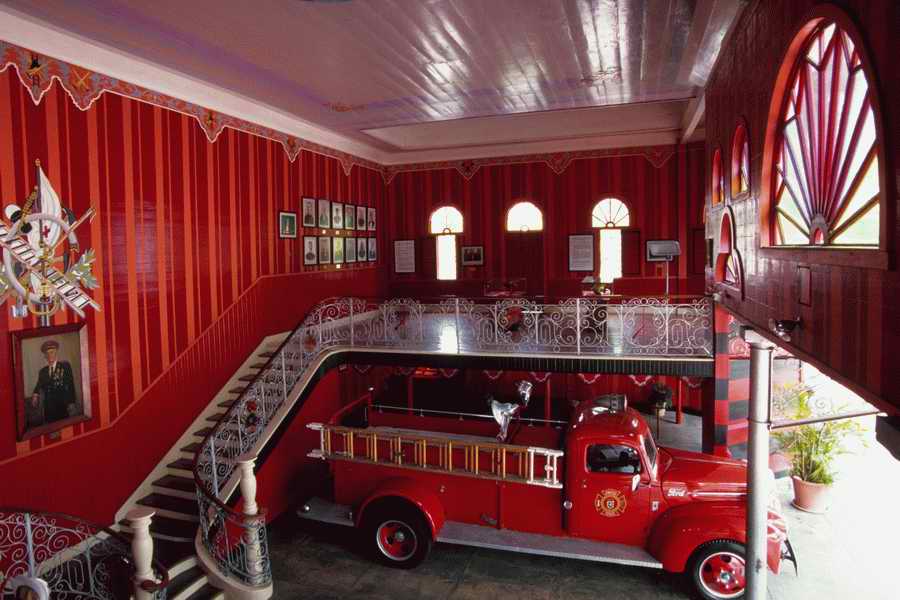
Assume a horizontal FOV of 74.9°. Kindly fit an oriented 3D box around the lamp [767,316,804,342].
[{"bbox_3d":[3.935,0.329,6.940,0.281,0.326,0.404,0,6,15],"label":"lamp"}]
